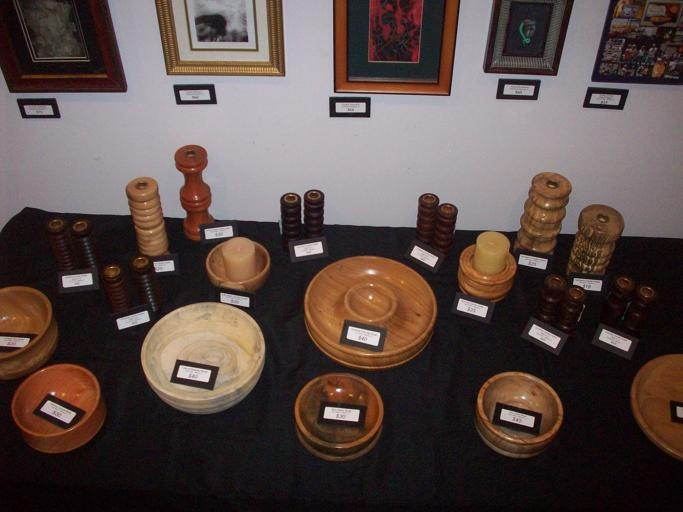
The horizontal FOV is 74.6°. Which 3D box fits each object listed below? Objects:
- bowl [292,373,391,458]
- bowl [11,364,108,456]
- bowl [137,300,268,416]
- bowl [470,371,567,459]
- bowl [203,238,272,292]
[{"bbox_3d":[-0.008,0.601,1.670,0.325,0.184,0.269,3,32,6],"label":"bowl"},{"bbox_3d":[-1.039,0.572,1.671,0.285,0.202,0.263,0,31,0],"label":"bowl"},{"bbox_3d":[-0.540,0.394,1.792,0.405,0.158,0.433,12,42,-11],"label":"bowl"},{"bbox_3d":[0.646,0.577,1.659,0.271,0.109,0.302,-8,38,8],"label":"bowl"},{"bbox_3d":[-0.476,0.038,2.098,0.280,0.192,0.306,5,44,-5],"label":"bowl"}]
